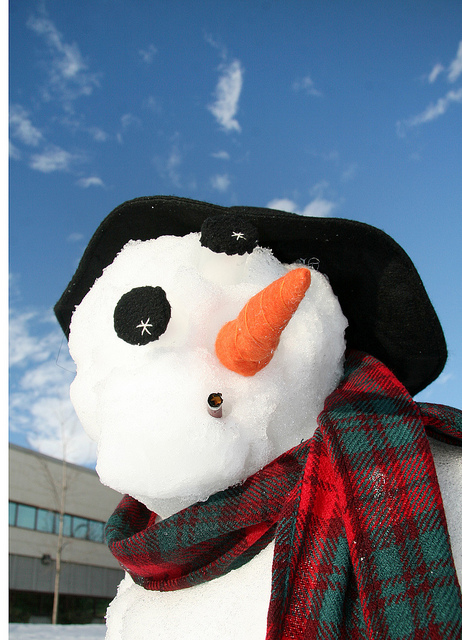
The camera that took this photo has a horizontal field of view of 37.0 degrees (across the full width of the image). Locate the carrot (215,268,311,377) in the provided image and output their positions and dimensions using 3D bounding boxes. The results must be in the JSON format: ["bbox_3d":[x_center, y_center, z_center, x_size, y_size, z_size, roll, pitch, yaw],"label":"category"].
[{"bbox_3d":[0.087,-0.011,1.274,0.140,0.116,0.271,11,-39,-18],"label":"carrot"}]
